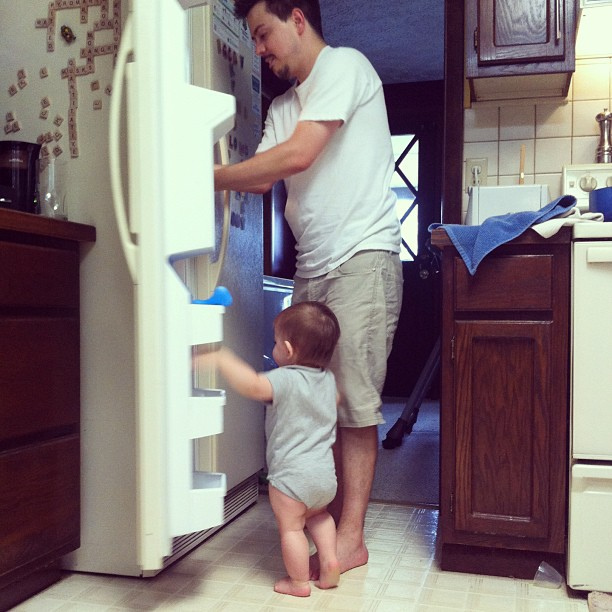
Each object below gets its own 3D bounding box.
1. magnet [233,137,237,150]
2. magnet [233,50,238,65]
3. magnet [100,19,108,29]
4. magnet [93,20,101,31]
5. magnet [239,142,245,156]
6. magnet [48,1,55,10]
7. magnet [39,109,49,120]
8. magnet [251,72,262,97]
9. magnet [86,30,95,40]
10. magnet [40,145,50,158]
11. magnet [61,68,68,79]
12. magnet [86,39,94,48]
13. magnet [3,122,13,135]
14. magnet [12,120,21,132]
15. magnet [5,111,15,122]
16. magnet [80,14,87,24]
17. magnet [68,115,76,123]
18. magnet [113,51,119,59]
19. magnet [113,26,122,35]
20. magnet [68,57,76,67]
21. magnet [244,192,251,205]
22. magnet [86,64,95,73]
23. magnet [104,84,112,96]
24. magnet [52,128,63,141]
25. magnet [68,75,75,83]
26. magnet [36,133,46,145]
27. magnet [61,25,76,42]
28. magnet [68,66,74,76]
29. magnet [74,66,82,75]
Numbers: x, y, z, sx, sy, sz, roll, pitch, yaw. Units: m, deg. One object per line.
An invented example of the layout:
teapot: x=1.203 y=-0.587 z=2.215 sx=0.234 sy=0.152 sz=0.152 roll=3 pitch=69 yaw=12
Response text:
magnet: x=-0.231 y=-0.530 z=2.077 sx=0.006 sy=0.035 sz=0.009 roll=0 pitch=-5 yaw=0
magnet: x=-0.230 y=-0.806 z=2.069 sx=0.007 sy=0.035 sz=0.019 roll=3 pitch=4 yaw=29
magnet: x=-0.501 y=-0.697 z=1.579 sx=0.019 sy=0.022 sz=0.005 roll=2 pitch=0 yaw=11
magnet: x=-0.521 y=-0.696 z=1.585 sx=0.019 sy=0.023 sz=0.006 roll=0 pitch=-2 yaw=17
magnet: x=-0.210 y=-0.520 z=2.131 sx=0.008 sy=0.033 sz=0.034 roll=4 pitch=20 yaw=11
magnet: x=-0.651 y=-0.764 z=1.626 sx=0.018 sy=0.021 sz=0.005 roll=-1 pitch=-3 yaw=7
magnet: x=-0.676 y=-0.494 z=1.643 sx=0.020 sy=0.024 sz=0.005 roll=3 pitch=1 yaw=14
magnet: x=-0.181 y=-0.796 z=2.303 sx=0.014 sy=0.074 sz=0.061 roll=0 pitch=-11 yaw=11
magnet: x=-0.539 y=-0.675 z=1.592 sx=0.022 sy=0.027 sz=0.018 roll=0 pitch=-4 yaw=6
magnet: x=-0.677 y=-0.399 z=1.644 sx=0.018 sy=0.029 sz=0.009 roll=0 pitch=-2 yaw=9
magnet: x=-0.614 y=-0.589 z=1.620 sx=0.019 sy=0.022 sz=0.008 roll=-2 pitch=-7 yaw=20
magnet: x=-0.540 y=-0.654 z=1.592 sx=0.018 sy=0.021 sz=0.011 roll=-1 pitch=-6 yaw=6
magnet: x=-0.787 y=-0.469 z=1.682 sx=0.024 sy=0.027 sz=0.008 roll=-12 pitch=-13 yaw=17
magnet: x=-0.761 y=-0.471 z=1.671 sx=0.026 sy=0.031 sz=0.016 roll=-1 pitch=-5 yaw=20
magnet: x=-0.781 y=-0.499 z=1.678 sx=0.022 sy=0.027 sz=0.015 roll=-3 pitch=3 yaw=10
magnet: x=-0.557 y=-0.719 z=1.596 sx=0.020 sy=0.032 sz=0.004 roll=1 pitch=5 yaw=12
magnet: x=-0.594 y=-0.474 z=1.616 sx=0.017 sy=0.020 sz=0.004 roll=1 pitch=1 yaw=13
magnet: x=-0.470 y=-0.616 z=1.569 sx=0.015 sy=0.017 sz=0.004 roll=2 pitch=-1 yaw=44
magnet: x=-0.466 y=-0.675 z=1.567 sx=0.017 sy=0.020 sz=0.005 roll=0 pitch=-2 yaw=16
magnet: x=-0.592 y=-0.614 z=1.609 sx=0.020 sy=0.023 sz=0.006 roll=-1 pitch=-2 yaw=20
magnet: x=-0.202 y=-0.370 z=2.166 sx=0.009 sy=0.047 sz=0.039 roll=3 pitch=-11 yaw=7
magnet: x=-0.539 y=-0.592 z=1.592 sx=0.018 sy=0.023 sz=0.020 roll=-1 pitch=1 yaw=-12
magnet: x=-0.492 y=-0.534 z=1.580 sx=0.016 sy=0.029 sz=0.004 roll=0 pitch=0 yaw=15
magnet: x=-0.638 y=-0.439 z=1.633 sx=0.021 sy=0.023 sz=0.006 roll=-35 pitch=-6 yaw=7
magnet: x=-0.593 y=-0.572 z=1.611 sx=0.016 sy=0.018 sz=0.005 roll=0 pitch=-3 yaw=13
magnet: x=-0.687 y=-0.431 z=1.651 sx=0.023 sy=0.026 sz=0.006 roll=-18 pitch=-15 yaw=31
magnet: x=-0.604 y=-0.686 z=1.610 sx=0.012 sy=0.039 sz=0.038 roll=-14 pitch=-27 yaw=-46
magnet: x=-0.596 y=-0.593 z=1.611 sx=0.016 sy=0.018 sz=0.005 roll=1 pitch=0 yaw=22
magnet: x=-0.574 y=-0.591 z=1.602 sx=0.018 sy=0.021 sz=0.018 roll=1 pitch=7 yaw=8
